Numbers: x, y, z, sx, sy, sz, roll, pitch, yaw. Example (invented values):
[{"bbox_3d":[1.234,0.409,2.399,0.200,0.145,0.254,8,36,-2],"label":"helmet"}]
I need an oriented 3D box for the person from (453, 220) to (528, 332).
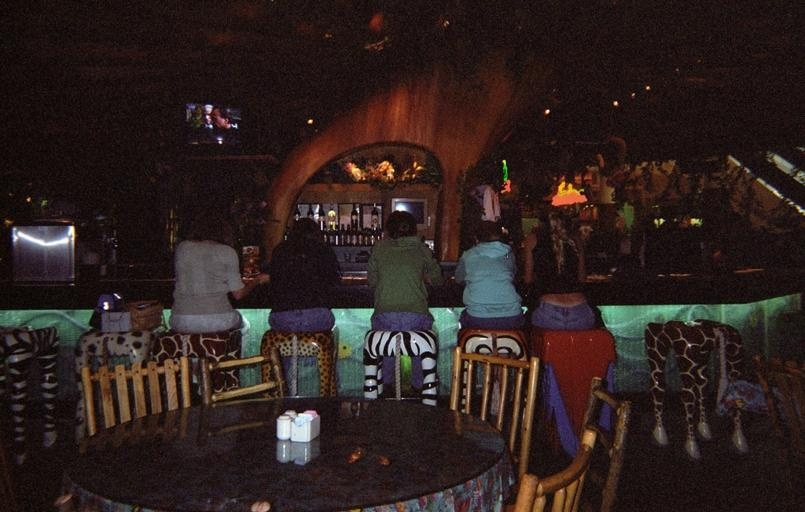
[{"bbox_3d":[0.855,0.190,5.985,0.660,1.089,0.289,-2,-2,11],"label":"person"}]

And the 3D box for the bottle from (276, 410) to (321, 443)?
[{"bbox_3d":[-0.730,1.183,4.161,0.222,0.166,0.283,0,-2,0],"label":"bottle"}]

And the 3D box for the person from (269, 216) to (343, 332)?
[{"bbox_3d":[-0.962,0.187,5.913,0.685,1.125,0.210,-1,-2,-13],"label":"person"}]

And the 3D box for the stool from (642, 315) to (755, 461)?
[{"bbox_3d":[3.116,1.316,6.256,1.111,1.303,0.796,0,-3,-41],"label":"stool"}]

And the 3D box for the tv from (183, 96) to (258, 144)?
[{"bbox_3d":[-2.894,-2.033,9.260,1.108,0.660,0.570,0,5,-7],"label":"tv"}]

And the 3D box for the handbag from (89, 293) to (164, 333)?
[{"bbox_3d":[-2.763,0.567,6.018,0.573,0.263,0.408,1,1,-14],"label":"handbag"}]

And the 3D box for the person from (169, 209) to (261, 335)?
[{"bbox_3d":[-1.913,0.135,6.105,0.926,1.155,0.965,14,12,39],"label":"person"}]
